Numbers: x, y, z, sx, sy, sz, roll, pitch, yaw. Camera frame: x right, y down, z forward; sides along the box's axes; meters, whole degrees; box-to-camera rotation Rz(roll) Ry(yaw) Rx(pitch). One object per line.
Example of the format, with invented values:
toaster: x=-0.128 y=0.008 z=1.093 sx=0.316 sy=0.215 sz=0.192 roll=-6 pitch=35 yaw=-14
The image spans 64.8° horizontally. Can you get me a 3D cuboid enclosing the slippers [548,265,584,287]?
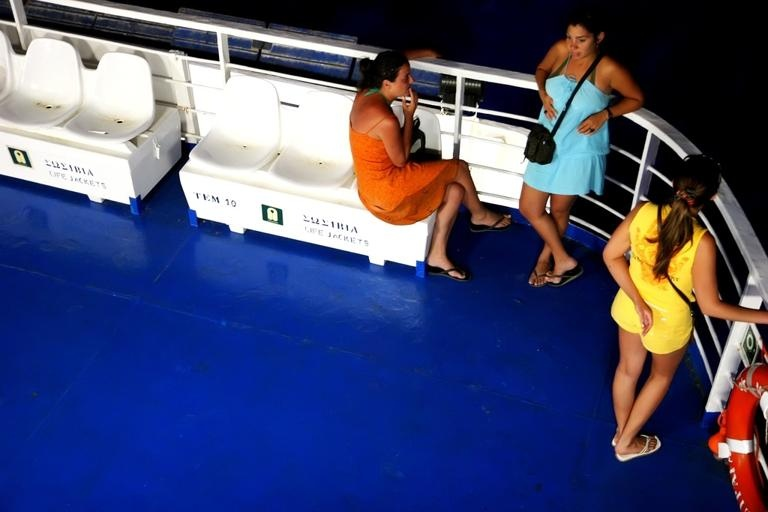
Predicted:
slippers: x=1.570 y=0.175 z=5.274 sx=0.284 sy=0.087 sz=0.167 roll=-29 pitch=75 yaw=5

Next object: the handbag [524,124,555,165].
handbag: x=1.202 y=-0.839 z=4.692 sx=0.227 sy=0.303 sz=0.171 roll=22 pitch=38 yaw=15

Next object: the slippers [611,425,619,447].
slippers: x=1.680 y=1.319 z=4.411 sx=0.043 sy=0.035 sz=0.133 roll=11 pitch=73 yaw=33

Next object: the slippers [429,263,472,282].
slippers: x=0.570 y=0.143 z=5.319 sx=0.368 sy=0.091 sz=0.152 roll=11 pitch=57 yaw=10

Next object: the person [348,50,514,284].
person: x=0.294 y=-0.752 z=4.981 sx=1.199 sy=1.726 sz=0.587 roll=9 pitch=36 yaw=0

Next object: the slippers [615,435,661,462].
slippers: x=1.819 y=1.382 z=4.366 sx=0.303 sy=0.085 sz=0.162 roll=-23 pitch=48 yaw=-10

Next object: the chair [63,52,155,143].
chair: x=-2.586 y=-1.487 z=5.729 sx=0.569 sy=0.501 sz=0.576 roll=17 pitch=46 yaw=8

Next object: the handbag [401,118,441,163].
handbag: x=0.325 y=-1.010 z=5.233 sx=0.373 sy=0.413 sz=0.325 roll=6 pitch=54 yaw=4

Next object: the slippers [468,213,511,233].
slippers: x=0.967 y=-0.309 z=5.588 sx=0.302 sy=0.087 sz=0.171 roll=-3 pitch=52 yaw=5

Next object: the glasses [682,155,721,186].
glasses: x=1.838 y=-0.525 z=3.539 sx=0.179 sy=0.129 sz=0.186 roll=29 pitch=69 yaw=25

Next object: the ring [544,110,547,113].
ring: x=1.230 y=-1.117 z=4.652 sx=0.007 sy=0.022 sz=0.021 roll=-9 pitch=2 yaw=-35

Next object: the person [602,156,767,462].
person: x=1.777 y=0.416 z=3.986 sx=0.395 sy=2.109 sz=0.879 roll=-24 pitch=48 yaw=-36
